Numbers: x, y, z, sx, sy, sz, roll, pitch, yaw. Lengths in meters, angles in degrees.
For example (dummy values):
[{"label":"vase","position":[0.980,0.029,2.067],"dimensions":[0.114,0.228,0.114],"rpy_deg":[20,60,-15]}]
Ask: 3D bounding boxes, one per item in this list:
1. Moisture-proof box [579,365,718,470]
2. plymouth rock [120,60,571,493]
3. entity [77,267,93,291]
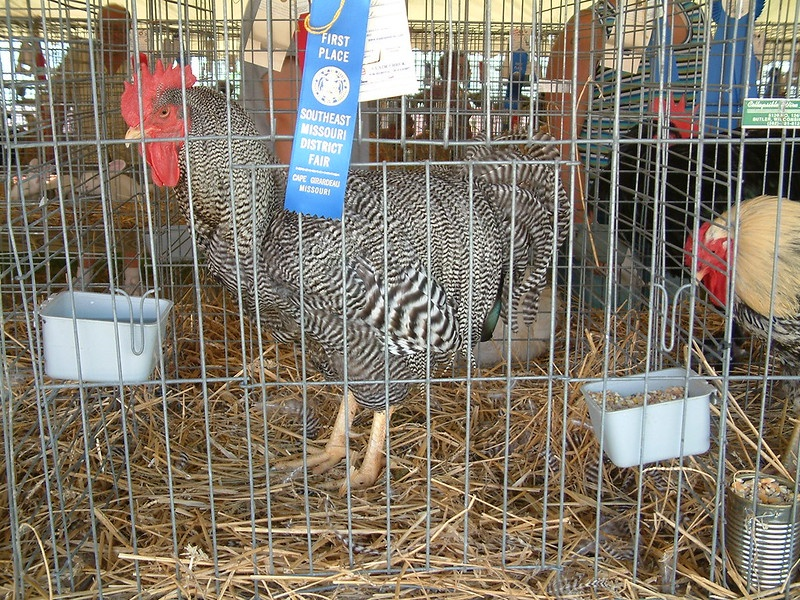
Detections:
[{"label":"Moisture-proof box","position":[0.736,0.313,2.215],"dimensions":[0.365,0.286,0.244],"rpy_deg":[-2,17,-8]},{"label":"plymouth rock","position":[-0.141,-0.066,2.581],"dimensions":[1.445,1.487,0.818],"rpy_deg":[-8,18,-25]},{"label":"entity","position":[-1.318,-0.088,3.094],"dimensions":[0.065,0.104,0.026],"rpy_deg":[3,12,-13]}]
